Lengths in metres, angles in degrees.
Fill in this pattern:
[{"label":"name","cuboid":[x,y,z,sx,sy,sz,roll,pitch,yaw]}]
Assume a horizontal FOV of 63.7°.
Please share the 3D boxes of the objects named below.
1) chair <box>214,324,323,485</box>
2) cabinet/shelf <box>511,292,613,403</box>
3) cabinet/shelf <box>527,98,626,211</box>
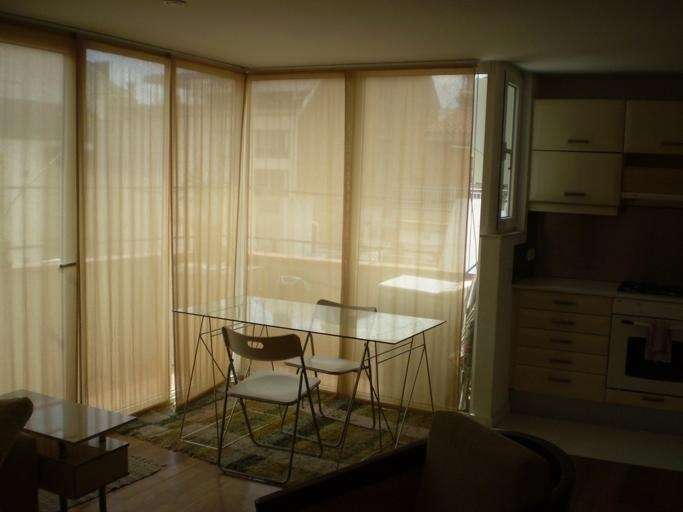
[{"label":"chair","cuboid":[-0.513,1.069,4.103,0.637,1.072,0.660,2,2,15]},{"label":"cabinet/shelf","cuboid":[1.947,0.702,5.184,0.959,1.234,0.821,1,3,24]},{"label":"cabinet/shelf","cuboid":[2.189,-0.998,5.056,0.776,1.110,0.583,8,39,28]}]
